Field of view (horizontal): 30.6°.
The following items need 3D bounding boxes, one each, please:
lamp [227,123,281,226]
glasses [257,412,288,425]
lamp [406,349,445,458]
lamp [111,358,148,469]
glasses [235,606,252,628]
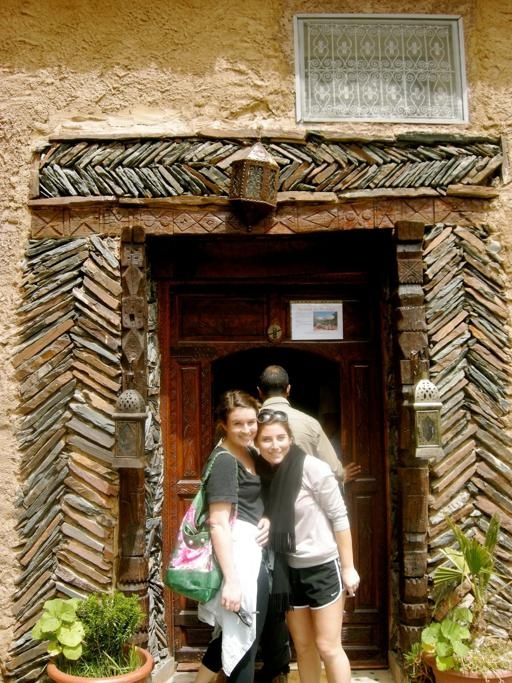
[{"bbox_3d":[-0.016,-1.034,5.854,0.293,0.605,0.282,6,-1,-42],"label":"lamp"},{"bbox_3d":[0.085,0.408,5.059,0.101,0.030,0.094,1,-29,0],"label":"glasses"},{"bbox_3d":[1.039,0.390,5.741,0.181,0.670,0.270,-2,-11,10],"label":"lamp"},{"bbox_3d":[-0.778,0.451,5.741,0.193,0.660,0.239,1,-11,-7],"label":"lamp"},{"bbox_3d":[-0.060,1.423,4.834,0.104,0.073,0.040,24,-1,12],"label":"glasses"}]
